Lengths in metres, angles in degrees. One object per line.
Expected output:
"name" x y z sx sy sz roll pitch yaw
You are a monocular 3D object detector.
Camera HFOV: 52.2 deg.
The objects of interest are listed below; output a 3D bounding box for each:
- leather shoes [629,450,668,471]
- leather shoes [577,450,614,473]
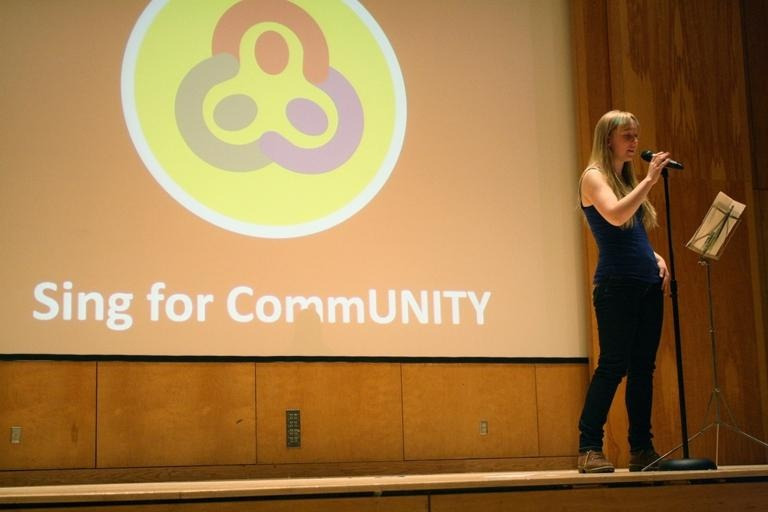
"leather shoes" 1.480 1.157 4.446 0.199 0.143 0.092 -3 -8 8
"leather shoes" 1.159 1.128 4.305 0.103 0.107 0.186 13 -20 -38
